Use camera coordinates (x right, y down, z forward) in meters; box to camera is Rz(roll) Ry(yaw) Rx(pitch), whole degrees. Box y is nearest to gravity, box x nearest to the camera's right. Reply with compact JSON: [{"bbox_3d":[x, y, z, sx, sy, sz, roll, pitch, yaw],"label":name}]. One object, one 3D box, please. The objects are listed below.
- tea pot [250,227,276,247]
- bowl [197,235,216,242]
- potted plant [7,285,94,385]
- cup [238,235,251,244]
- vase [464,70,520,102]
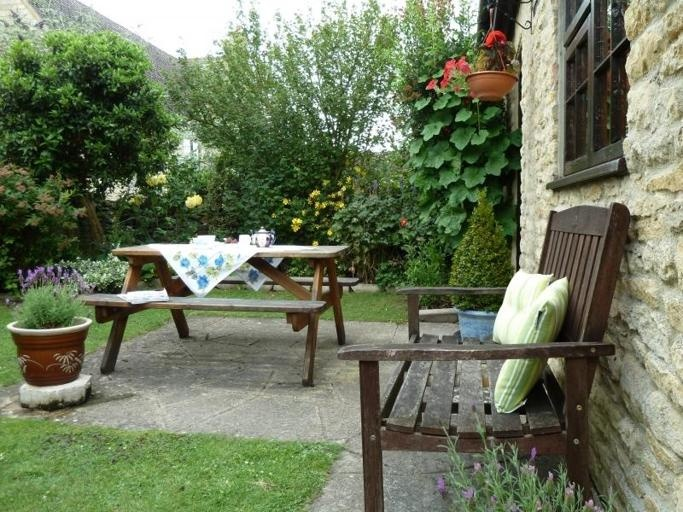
[{"bbox_3d":[-0.782,-0.190,5.220,0.277,0.160,0.191,4,6,23],"label":"tea pot"},{"bbox_3d":[-1.232,-0.170,5.061,0.099,0.050,0.089,0,1,-4],"label":"bowl"},{"bbox_3d":[-2.051,0.557,4.177,0.742,0.718,0.721,-2,-3,28],"label":"potted plant"},{"bbox_3d":[-0.912,-0.167,5.269,0.117,0.081,0.454,-1,8,-9],"label":"cup"},{"bbox_3d":[1.294,-1.499,4.809,0.409,0.249,0.275,3,9,16],"label":"vase"}]
